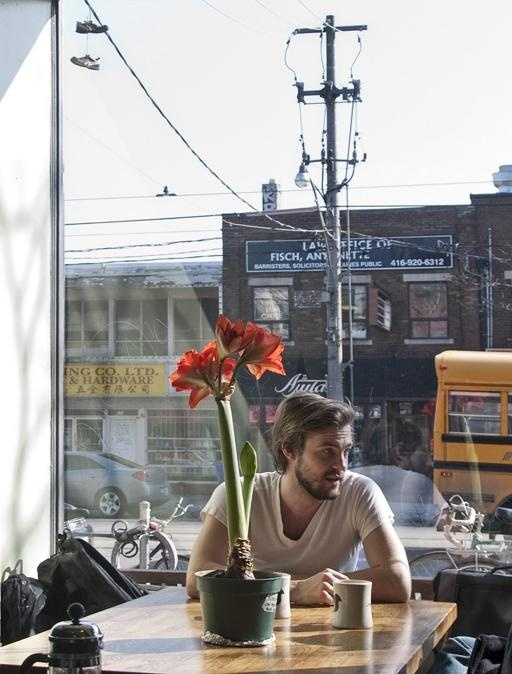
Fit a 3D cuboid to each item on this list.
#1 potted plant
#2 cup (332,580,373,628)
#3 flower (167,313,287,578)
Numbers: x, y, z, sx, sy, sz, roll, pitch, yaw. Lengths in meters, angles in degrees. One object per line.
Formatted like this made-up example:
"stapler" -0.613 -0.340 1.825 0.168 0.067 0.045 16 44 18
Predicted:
"potted plant" -0.025 0.626 2.891 0.213 0.147 0.207 2 -2 -22
"cup" 0.241 0.649 3.009 0.103 0.110 0.099 0 0 0
"flower" -0.057 0.255 2.862 0.255 0.600 0.109 0 -5 -2
